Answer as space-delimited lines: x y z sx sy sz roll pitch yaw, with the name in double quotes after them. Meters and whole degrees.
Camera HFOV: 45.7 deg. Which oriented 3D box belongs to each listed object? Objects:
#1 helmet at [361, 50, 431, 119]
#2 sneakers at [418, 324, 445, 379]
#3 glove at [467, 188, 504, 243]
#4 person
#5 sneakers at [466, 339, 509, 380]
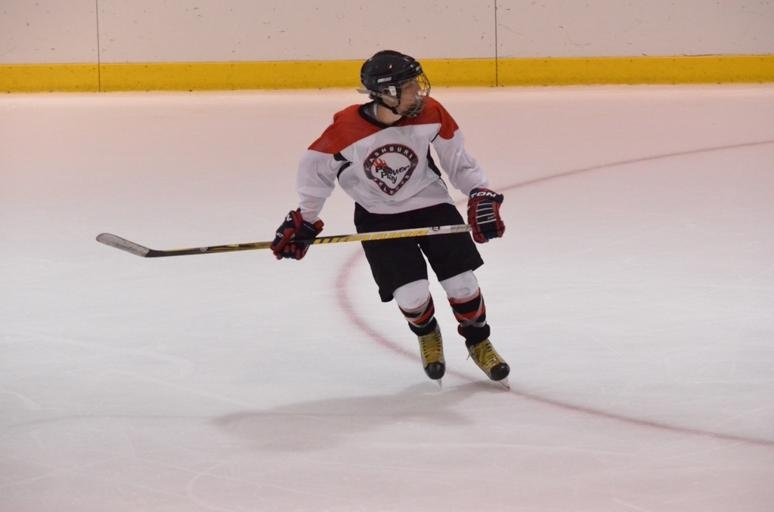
0.009 -0.880 4.705 0.401 0.247 0.277 1 18 -9 "helmet"
0.228 0.494 4.758 0.120 0.274 0.147 -13 -26 14 "sneakers"
0.502 -0.210 4.666 0.175 0.270 0.179 0 9 3 "glove"
0.050 -0.205 4.674 1.171 1.676 0.399 1 10 4 "person"
0.542 0.533 4.689 0.195 0.204 0.265 -3 9 -19 "sneakers"
